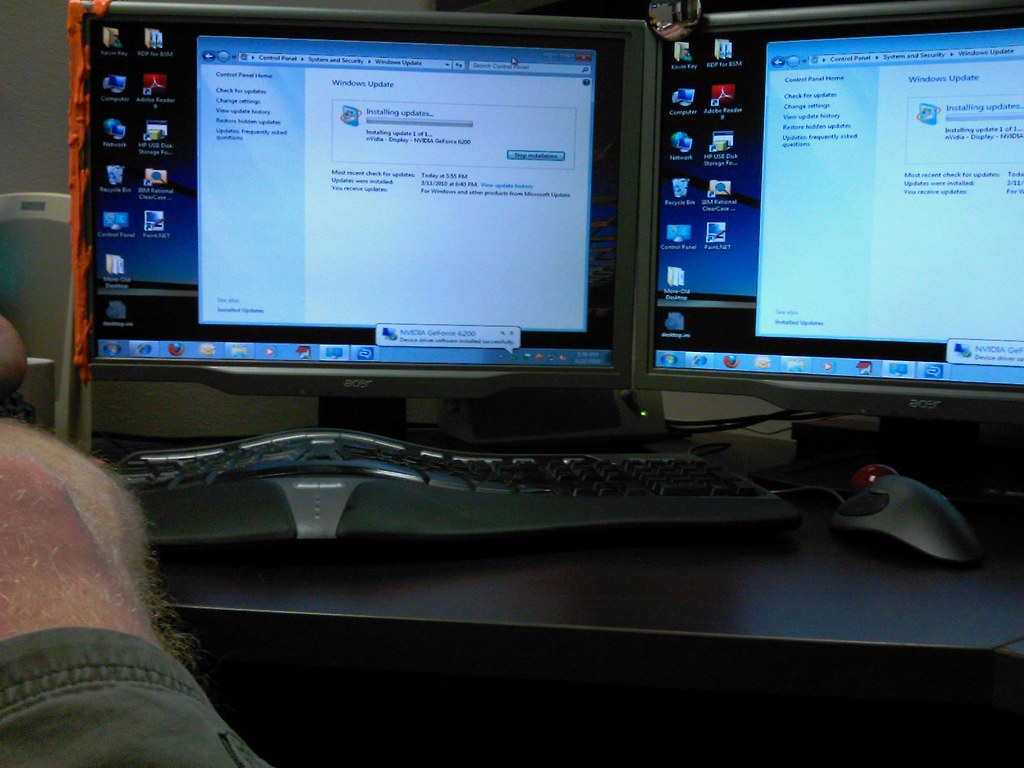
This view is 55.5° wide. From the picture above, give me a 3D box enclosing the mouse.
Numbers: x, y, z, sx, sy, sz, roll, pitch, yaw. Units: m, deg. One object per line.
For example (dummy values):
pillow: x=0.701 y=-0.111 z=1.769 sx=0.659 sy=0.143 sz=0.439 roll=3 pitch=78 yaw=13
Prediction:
mouse: x=0.331 y=0.100 z=0.829 sx=0.088 sy=0.052 sz=0.155 roll=-25 pitch=12 yaw=-21
